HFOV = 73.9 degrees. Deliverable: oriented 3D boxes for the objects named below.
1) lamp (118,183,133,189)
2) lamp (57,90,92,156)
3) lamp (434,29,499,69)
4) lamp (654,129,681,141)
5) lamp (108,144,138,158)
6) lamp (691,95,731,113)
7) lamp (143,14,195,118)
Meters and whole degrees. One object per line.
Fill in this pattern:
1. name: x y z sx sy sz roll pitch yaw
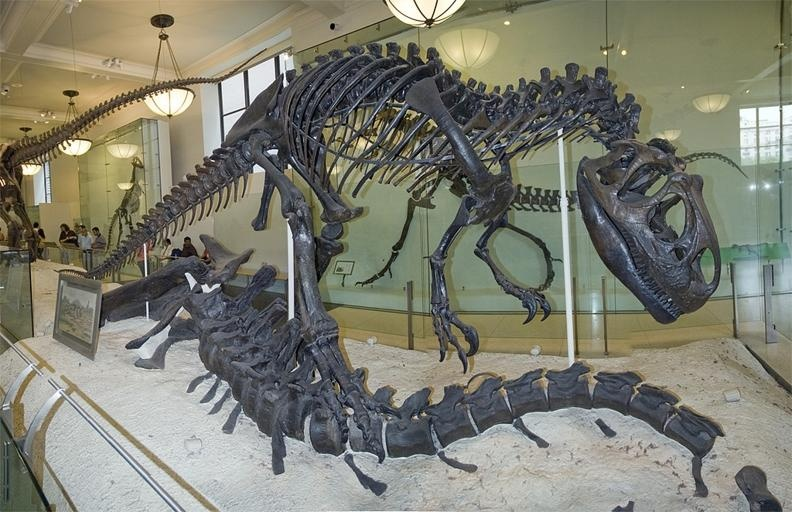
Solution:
1. lamp: -5.429 -1.418 10.536 0.209 0.097 0.209 -11 -8 35
2. lamp: -5.686 -2.360 9.269 0.605 1.078 0.585 -4 5 -21
3. lamp: 0.846 -2.356 6.164 0.766 0.311 0.754 0 2 24
4. lamp: 2.807 -1.263 5.437 0.234 0.137 0.109 -1 3 22
5. lamp: -5.383 -2.095 10.376 0.430 0.160 0.418 0 -1 -31
6. lamp: 3.141 -1.511 5.270 0.212 0.081 0.209 -1 -1 -43
7. lamp: -3.252 -2.722 7.562 0.710 1.381 0.703 18 37 10
